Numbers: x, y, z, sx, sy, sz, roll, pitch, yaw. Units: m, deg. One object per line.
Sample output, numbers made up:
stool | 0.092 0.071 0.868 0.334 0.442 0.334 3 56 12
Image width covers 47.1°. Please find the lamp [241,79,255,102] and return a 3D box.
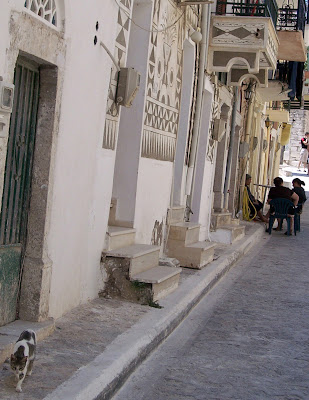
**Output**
lamp | 3.267 -3.811 12.275 0.418 0.672 1.009 11 -3 17

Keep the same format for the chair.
chair | 4.341 0.452 11.881 1.045 1.570 1.217 6 17 22

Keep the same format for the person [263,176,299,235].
person | 4.449 0.172 12.065 0.907 2.103 1.203 -2 11 24
